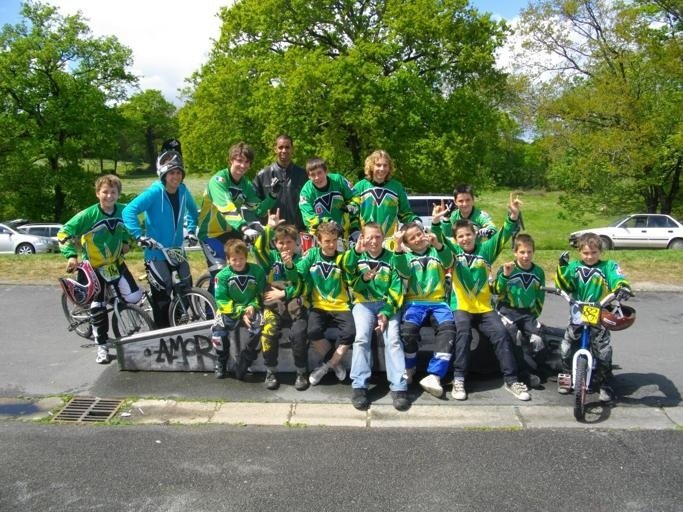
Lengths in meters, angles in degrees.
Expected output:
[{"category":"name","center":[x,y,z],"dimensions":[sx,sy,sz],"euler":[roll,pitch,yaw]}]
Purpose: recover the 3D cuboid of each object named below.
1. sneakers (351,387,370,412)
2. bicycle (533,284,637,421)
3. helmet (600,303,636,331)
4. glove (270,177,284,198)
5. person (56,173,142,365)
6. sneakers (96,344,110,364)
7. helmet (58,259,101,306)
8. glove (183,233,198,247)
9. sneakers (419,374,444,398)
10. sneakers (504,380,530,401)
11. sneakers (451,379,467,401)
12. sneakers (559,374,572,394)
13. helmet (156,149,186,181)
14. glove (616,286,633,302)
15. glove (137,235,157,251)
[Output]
[{"category":"sneakers","center":[0.239,1.738,7.591],"dimensions":[0.224,0.225,0.348],"euler":[-2,4,2]},{"category":"bicycle","center":[3.086,1.137,7.590],"dimensions":[1.038,1.494,0.741],"euler":[-4,4,-19]},{"category":"helmet","center":[3.351,0.742,7.411],"dimensions":[0.357,0.267,0.442],"euler":[-10,22,-42]},{"category":"glove","center":[-0.959,-1.029,9.235],"dimensions":[0.191,0.256,0.090],"euler":[-1,12,-33]},{"category":"person","center":[-3.467,0.176,8.849],"dimensions":[1.067,2.676,0.471],"euler":[-4,5,-24]},{"category":"sneakers","center":[-3.457,1.388,8.835],"dimensions":[0.193,0.263,0.316],"euler":[-4,4,-21]},{"category":"helmet","center":[-3.752,0.392,8.798],"dimensions":[0.525,0.650,0.351],"euler":[-4,5,-24]},{"category":"glove","center":[-2.206,-0.233,9.068],"dimensions":[0.165,0.217,0.094],"euler":[5,19,26]},{"category":"sneakers","center":[1.159,1.624,7.811],"dimensions":[0.295,0.270,0.313],"euler":[-2,4,8]},{"category":"sneakers","center":[2.224,1.680,7.732],"dimensions":[0.137,0.148,0.371],"euler":[-6,0,-26]},{"category":"sneakers","center":[1.489,1.660,7.717],"dimensions":[0.191,0.229,0.252],"euler":[-2,4,10]},{"category":"sneakers","center":[2.830,1.613,7.747],"dimensions":[0.164,0.232,0.261],"euler":[-7,-36,23]},{"category":"helmet","center":[-2.473,-1.319,8.835],"dimensions":[0.367,0.403,0.267],"euler":[-3,4,-14]},{"category":"glove","center":[3.457,0.480,7.518],"dimensions":[0.213,0.198,0.156],"euler":[29,-19,-29]},{"category":"glove","center":[-2.707,-0.182,8.531],"dimensions":[0.166,0.107,0.221],"euler":[38,-21,-31]}]
